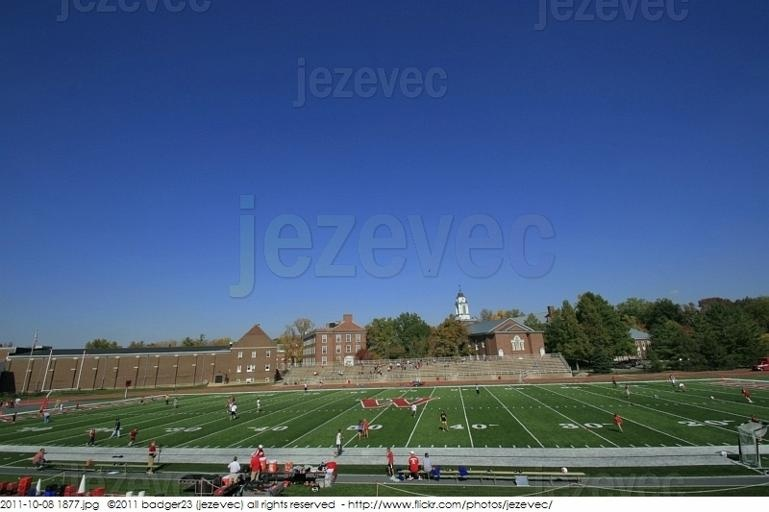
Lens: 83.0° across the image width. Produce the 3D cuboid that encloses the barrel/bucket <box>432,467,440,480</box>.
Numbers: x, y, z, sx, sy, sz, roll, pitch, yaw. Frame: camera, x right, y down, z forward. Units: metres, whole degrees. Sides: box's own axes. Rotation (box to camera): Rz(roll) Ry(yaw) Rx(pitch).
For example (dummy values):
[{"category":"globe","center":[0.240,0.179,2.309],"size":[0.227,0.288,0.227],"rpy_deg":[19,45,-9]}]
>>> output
[{"category":"barrel/bucket","center":[3.410,14.231,28.691],"size":[0.491,0.813,0.630],"rpy_deg":[3,-12,-31]}]

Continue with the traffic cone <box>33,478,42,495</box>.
[{"category":"traffic cone","center":[-20.950,13.960,26.326],"size":[0.325,0.863,1.325],"rpy_deg":[5,-10,-38]}]

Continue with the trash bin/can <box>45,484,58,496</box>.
[{"category":"trash bin/can","center":[-20.400,14.220,26.641],"size":[0.531,0.505,0.718],"rpy_deg":[-2,-7,4]}]
